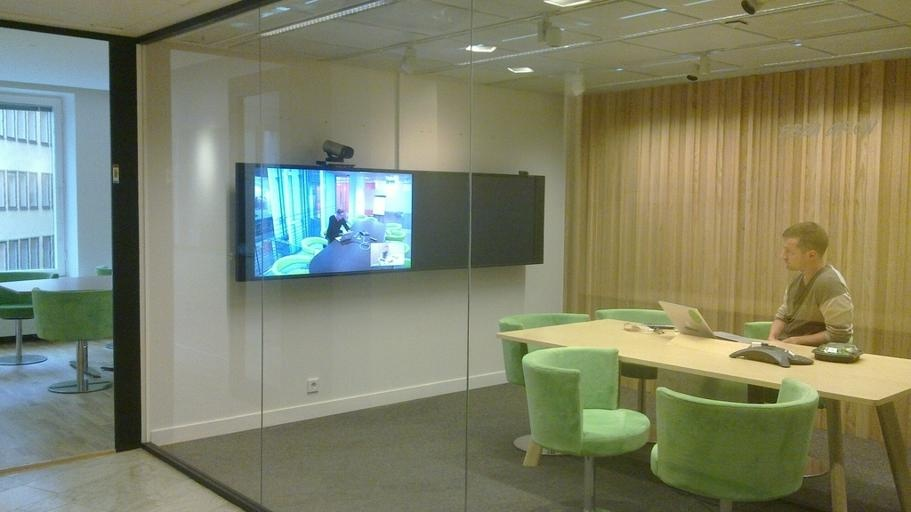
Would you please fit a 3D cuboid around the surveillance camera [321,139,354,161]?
[{"bbox_3d":[-0.728,-0.651,3.946,0.225,0.111,0.113,16,-8,40],"label":"surveillance camera"}]

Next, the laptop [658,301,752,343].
[{"bbox_3d":[1.156,0.289,3.033,0.255,0.129,0.228,-4,3,-31],"label":"laptop"}]

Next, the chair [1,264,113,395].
[{"bbox_3d":[-4.285,0.919,7.156,0.917,1.190,1.301,-8,9,-34],"label":"chair"}]

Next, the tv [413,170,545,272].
[{"bbox_3d":[0.067,-0.211,3.627,0.898,0.525,0.093,-2,4,-37],"label":"tv"}]

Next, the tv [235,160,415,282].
[{"bbox_3d":[-0.750,-0.212,4.049,0.035,0.677,1.300,3,5,43],"label":"tv"}]
